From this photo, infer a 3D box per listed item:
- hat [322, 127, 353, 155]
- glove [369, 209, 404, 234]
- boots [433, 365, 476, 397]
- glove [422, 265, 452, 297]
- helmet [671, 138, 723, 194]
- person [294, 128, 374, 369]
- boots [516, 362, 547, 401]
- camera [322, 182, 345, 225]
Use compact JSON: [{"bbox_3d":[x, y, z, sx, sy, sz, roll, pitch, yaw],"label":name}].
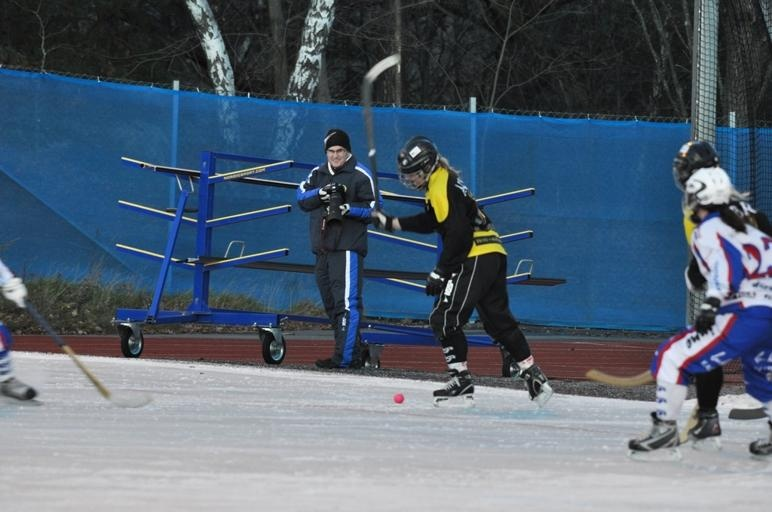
[{"bbox_3d":[-0.644,-1.557,19.698,0.373,0.328,0.446,-3,-5,1],"label":"hat"},{"bbox_3d":[-0.016,-0.428,17.807,0.216,0.137,0.512,-24,36,-31],"label":"glove"},{"bbox_3d":[0.772,1.500,17.492,0.475,0.356,0.297,1,9,-1],"label":"boots"},{"bbox_3d":[0.572,0.293,17.456,0.155,0.336,0.268,27,-20,11],"label":"glove"},{"bbox_3d":[3.357,-0.977,16.286,0.492,0.545,0.668,1,4,15],"label":"helmet"},{"bbox_3d":[-0.457,-0.085,19.744,1.072,3.057,1.246,0,-1,17],"label":"person"},{"bbox_3d":[1.699,1.479,17.278,0.228,0.453,0.430,-7,12,-40],"label":"boots"},{"bbox_3d":[-0.679,-0.701,19.328,0.324,0.461,0.240,2,-23,1],"label":"camera"}]
